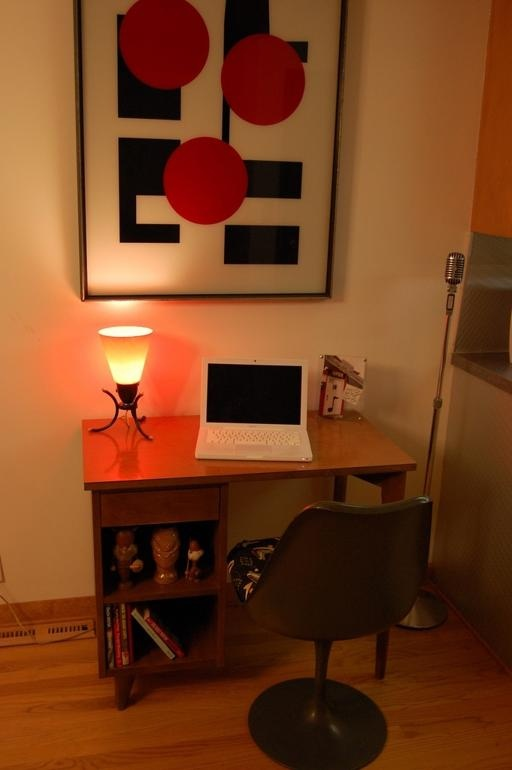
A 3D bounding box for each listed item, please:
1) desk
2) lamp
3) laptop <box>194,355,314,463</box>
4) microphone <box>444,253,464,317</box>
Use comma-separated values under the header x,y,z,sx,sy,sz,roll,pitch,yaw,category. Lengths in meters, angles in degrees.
x,y,z,sx,sy,sz,roll,pitch,yaw,category
-0.044,0.572,1.926,1.042,0.857,0.707,-3,26,-8,desk
-0.386,-0.016,1.714,0.226,0.420,0.236,-5,23,-14,lamp
-0.009,0.039,1.613,0.279,0.197,0.274,0,27,-3,laptop
0.633,-0.327,1.873,0.051,0.201,0.154,4,9,19,microphone
